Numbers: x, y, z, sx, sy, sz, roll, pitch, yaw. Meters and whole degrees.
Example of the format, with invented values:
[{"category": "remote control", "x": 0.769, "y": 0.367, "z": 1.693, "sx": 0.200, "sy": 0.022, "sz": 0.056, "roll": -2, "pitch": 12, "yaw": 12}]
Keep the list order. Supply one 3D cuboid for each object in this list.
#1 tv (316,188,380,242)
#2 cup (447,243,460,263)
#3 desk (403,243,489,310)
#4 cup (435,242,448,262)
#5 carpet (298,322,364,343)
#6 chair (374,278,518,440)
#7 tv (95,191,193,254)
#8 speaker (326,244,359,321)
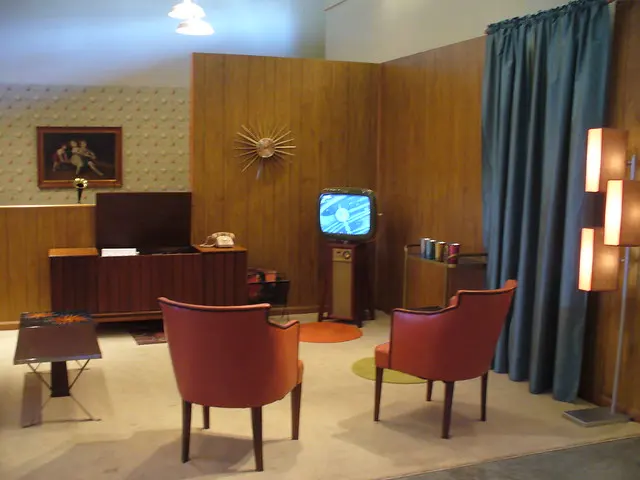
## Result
[{"category": "tv", "x": 0.314, "y": -0.288, "z": 6.176, "sx": 0.855, "sy": 0.539, "sz": 0.409, "roll": 1, "pitch": 5, "yaw": 18}, {"category": "cup", "x": 1.292, "y": 0.138, "z": 5.215, "sx": 0.111, "sy": 0.189, "sz": 0.543, "roll": 4, "pitch": 10, "yaw": 14}, {"category": "desk", "x": 1.259, "y": 0.348, "z": 5.302, "sx": 0.529, "sy": 0.681, "sz": 0.818, "roll": -3, "pitch": 6, "yaw": -21}, {"category": "cup", "x": 1.201, "y": 0.115, "z": 5.364, "sx": 0.113, "sy": 0.163, "sz": 0.193, "roll": 3, "pitch": 11, "yaw": 10}, {"category": "carpet", "x": 0.128, "y": 1.035, "z": 6.049, "sx": 0.687, "sy": 0.027, "sz": 0.744, "roll": 1, "pitch": 9, "yaw": 0}, {"category": "chair", "x": 0.917, "y": 0.835, "z": 4.351, "sx": 1.296, "sy": 1.174, "sz": 1.175, "roll": 2, "pitch": 1, "yaw": 41}, {"category": "tv", "x": -1.989, "y": -0.188, "z": 6.093, "sx": 1.463, "sy": 0.723, "sz": 0.677, "roll": -1, "pitch": 2, "yaw": -21}, {"category": "speaker", "x": 0.260, "y": 0.486, "z": 6.249, "sx": 0.373, "sy": 0.858, "sz": 0.174, "roll": 5, "pitch": 15, "yaw": 18}]
